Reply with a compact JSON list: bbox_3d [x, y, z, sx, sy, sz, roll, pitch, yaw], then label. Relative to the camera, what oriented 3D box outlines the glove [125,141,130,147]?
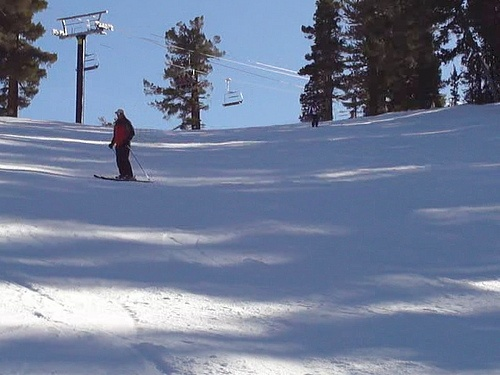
[{"bbox_3d":[-3.590,-1.281,28.196,0.175,0.120,0.042,-1,0,-37],"label":"glove"}]
